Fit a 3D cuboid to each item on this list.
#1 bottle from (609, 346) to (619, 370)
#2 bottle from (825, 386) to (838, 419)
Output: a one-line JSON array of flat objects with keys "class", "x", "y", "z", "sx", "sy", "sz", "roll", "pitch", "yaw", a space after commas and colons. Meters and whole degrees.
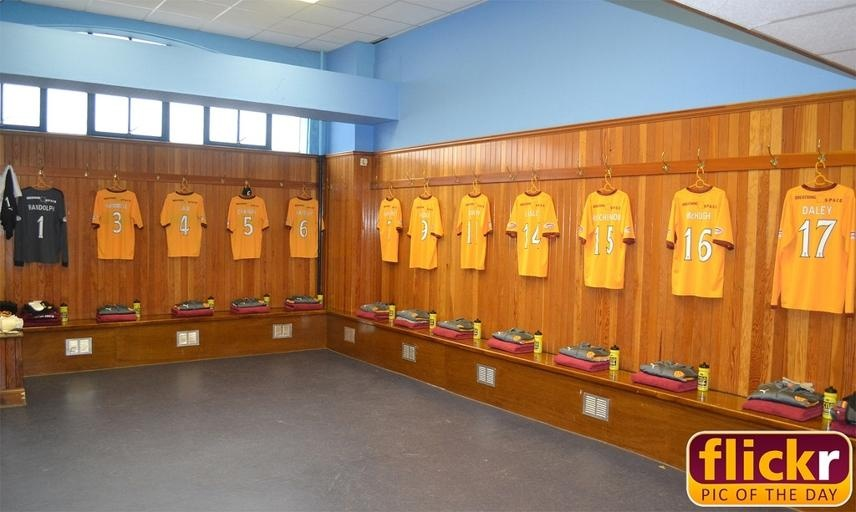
[{"class": "bottle", "x": 2.060, "y": 1.136, "z": 6.303, "sx": 0.095, "sy": 0.272, "sz": 0.191, "roll": 2, "pitch": 7, "yaw": 27}, {"class": "bottle", "x": 3.637, "y": 1.321, "z": 5.124, "sx": 0.094, "sy": 0.279, "sz": 0.141, "roll": 2, "pitch": 8, "yaw": 30}]
